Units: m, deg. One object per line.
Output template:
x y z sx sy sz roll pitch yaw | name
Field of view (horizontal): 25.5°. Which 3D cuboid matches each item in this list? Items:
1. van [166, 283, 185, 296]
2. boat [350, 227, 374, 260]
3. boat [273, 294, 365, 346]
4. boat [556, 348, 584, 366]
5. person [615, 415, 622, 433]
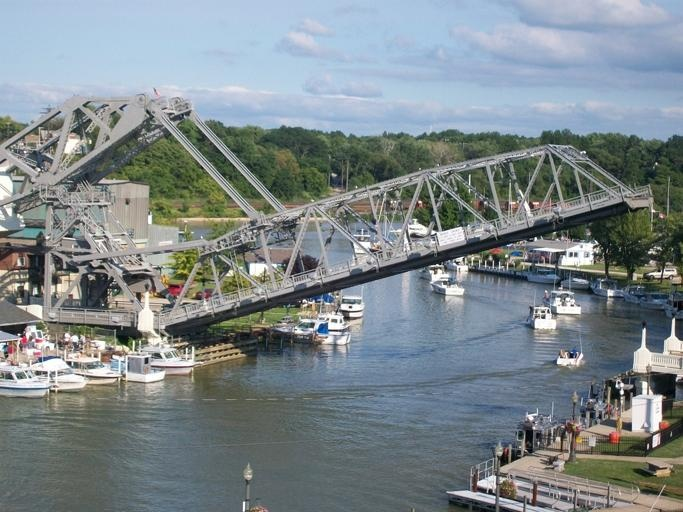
-11.803 2.492 107.762 1.363 0.680 2.207 3 16 5 | van
1.891 -1.090 130.079 1.277 2.158 5.978 2 9 6 | boat
-1.429 4.919 98.415 5.648 2.111 1.966 -5 13 -23 | boat
14.276 6.431 93.817 0.943 0.465 1.501 4 14 11 | boat
14.586 8.892 79.229 0.376 0.426 1.434 16 -27 20 | person
